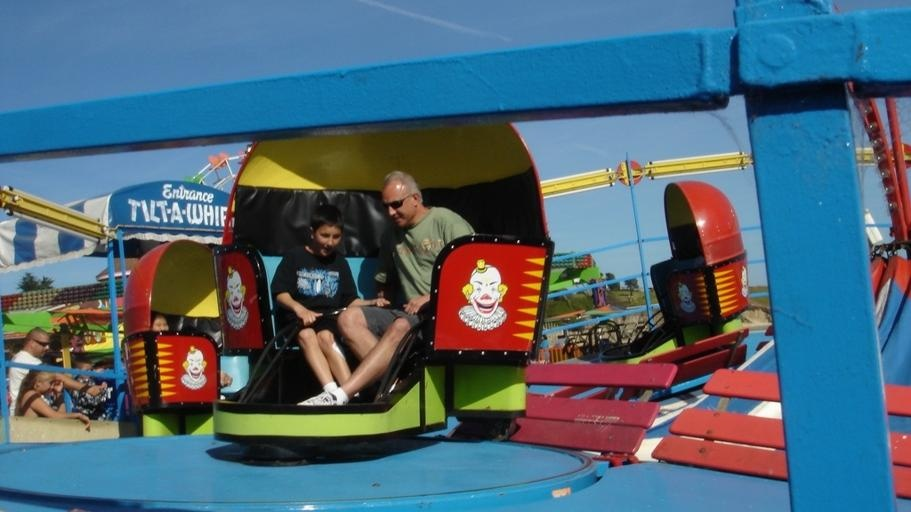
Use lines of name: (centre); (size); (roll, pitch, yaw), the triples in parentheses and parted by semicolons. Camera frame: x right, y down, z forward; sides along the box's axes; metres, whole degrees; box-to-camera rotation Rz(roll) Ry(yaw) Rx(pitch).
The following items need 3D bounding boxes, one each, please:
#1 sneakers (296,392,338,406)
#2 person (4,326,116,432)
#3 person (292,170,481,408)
sneakers: (-1.087, 1.100, 7.911); (0.341, 0.134, 0.116); (2, -18, -3)
person: (-4.724, 1.340, 12.012); (0.992, 1.090, 1.925); (0, -10, -19)
person: (-0.478, 0.235, 8.626); (1.004, 1.946, 1.465); (-8, -10, 26)
